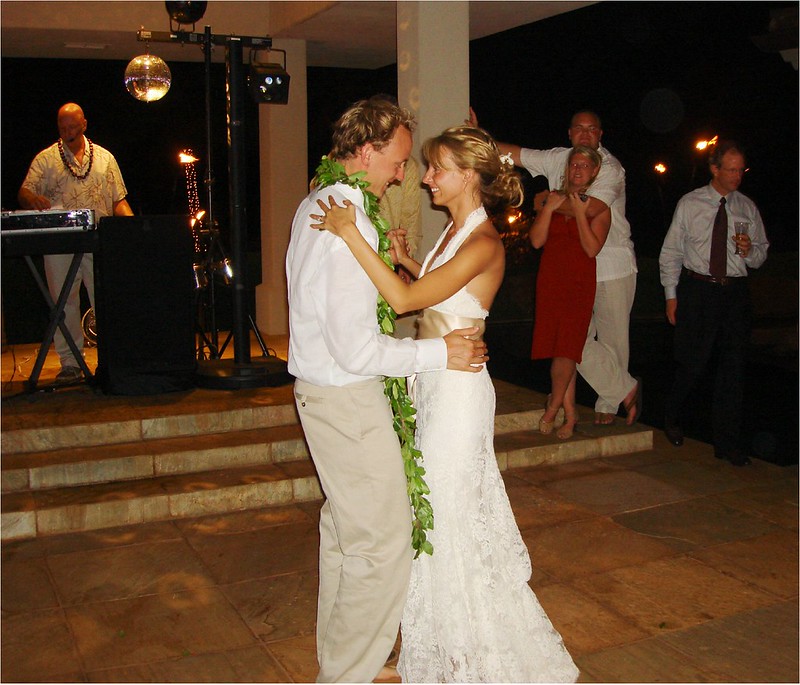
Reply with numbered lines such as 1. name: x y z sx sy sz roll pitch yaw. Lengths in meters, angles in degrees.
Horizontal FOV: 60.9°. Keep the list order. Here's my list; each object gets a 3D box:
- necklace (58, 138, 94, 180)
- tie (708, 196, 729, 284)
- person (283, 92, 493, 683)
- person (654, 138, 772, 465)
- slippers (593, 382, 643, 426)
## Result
1. necklace: -2.754 -1.499 5.751 0.230 0.349 0.091 -1 6 -16
2. tie: 2.156 -0.682 4.603 0.108 0.561 0.162 3 10 18
3. person: -0.065 0.221 2.134 0.564 1.930 0.415 -1 9 -8
4. person: 2.153 -0.263 4.767 0.666 2.166 0.419 5 10 26
5. slippers: 1.722 0.518 5.297 0.190 0.535 0.189 21 -17 -35
